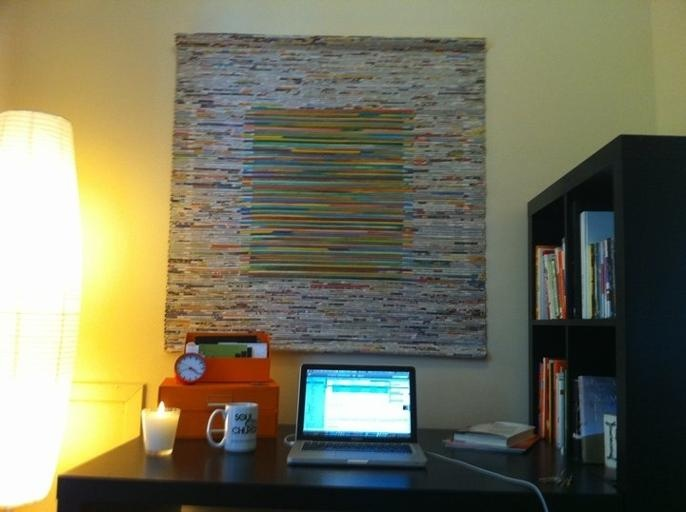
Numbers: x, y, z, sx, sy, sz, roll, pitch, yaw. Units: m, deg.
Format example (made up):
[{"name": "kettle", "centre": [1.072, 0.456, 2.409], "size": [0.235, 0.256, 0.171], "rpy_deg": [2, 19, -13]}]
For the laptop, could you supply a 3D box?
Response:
[{"name": "laptop", "centre": [0.047, 0.554, 2.515], "size": [0.475, 0.243, 0.342], "rpy_deg": [2, 7, 5]}]

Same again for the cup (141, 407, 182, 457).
[{"name": "cup", "centre": [-0.633, 0.604, 2.501], "size": [0.172, 0.164, 0.157], "rpy_deg": [0, -6, 0]}]

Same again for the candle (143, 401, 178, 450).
[{"name": "candle", "centre": [-0.631, 0.608, 2.585], "size": [0.153, 0.154, 0.153], "rpy_deg": [-8, -11, 42]}]

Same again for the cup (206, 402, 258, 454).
[{"name": "cup", "centre": [-0.386, 0.624, 2.587], "size": [0.222, 0.149, 0.117], "rpy_deg": [-2, -15, 4]}]

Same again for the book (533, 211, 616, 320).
[{"name": "book", "centre": [0.823, 0.049, 2.597], "size": [0.177, 0.392, 0.461], "rpy_deg": [1, -2, -10]}]

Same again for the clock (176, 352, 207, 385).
[{"name": "clock", "centre": [-0.571, 0.420, 2.716], "size": [0.107, 0.113, 0.035], "rpy_deg": [1, -7, -2]}]
